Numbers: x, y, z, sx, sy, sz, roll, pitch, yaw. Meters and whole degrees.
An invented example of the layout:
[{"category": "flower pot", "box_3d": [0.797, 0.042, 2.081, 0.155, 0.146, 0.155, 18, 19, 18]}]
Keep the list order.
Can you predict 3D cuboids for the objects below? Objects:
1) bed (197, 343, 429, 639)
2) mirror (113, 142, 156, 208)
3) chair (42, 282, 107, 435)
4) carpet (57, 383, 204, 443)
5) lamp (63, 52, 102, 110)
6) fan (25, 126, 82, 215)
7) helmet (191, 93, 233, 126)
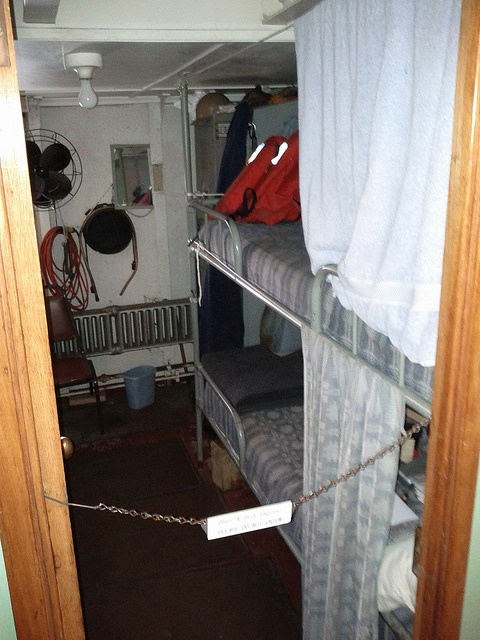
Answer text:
[{"category": "bed", "box_3d": [0.269, 0.829, 3.731, 0.863, 1.091, 1.692, -20, 40, -18]}, {"category": "mirror", "box_3d": [-1.345, -1.827, 5.986, 0.508, 0.964, 0.058, -3, -12, -21]}, {"category": "chair", "box_3d": [-1.919, 0.520, 5.187, 0.656, 1.510, 0.797, -9, 24, -35]}, {"category": "carpet", "box_3d": [-1.442, 1.288, 6.234, 1.578, 0.919, 0.051, -4, -18, -11]}, {"category": "lamp", "box_3d": [-0.875, -1.398, 2.719, 0.151, 0.302, 0.157, 18, 25, 37]}, {"category": "fan", "box_3d": [-2.112, -1.575, 5.185, 0.666, 1.094, 0.483, 0, -10, -17]}, {"category": "helmet", "box_3d": [-0.342, -2.336, 5.045, 0.459, 0.275, 0.220, 10, 18, 37]}]
